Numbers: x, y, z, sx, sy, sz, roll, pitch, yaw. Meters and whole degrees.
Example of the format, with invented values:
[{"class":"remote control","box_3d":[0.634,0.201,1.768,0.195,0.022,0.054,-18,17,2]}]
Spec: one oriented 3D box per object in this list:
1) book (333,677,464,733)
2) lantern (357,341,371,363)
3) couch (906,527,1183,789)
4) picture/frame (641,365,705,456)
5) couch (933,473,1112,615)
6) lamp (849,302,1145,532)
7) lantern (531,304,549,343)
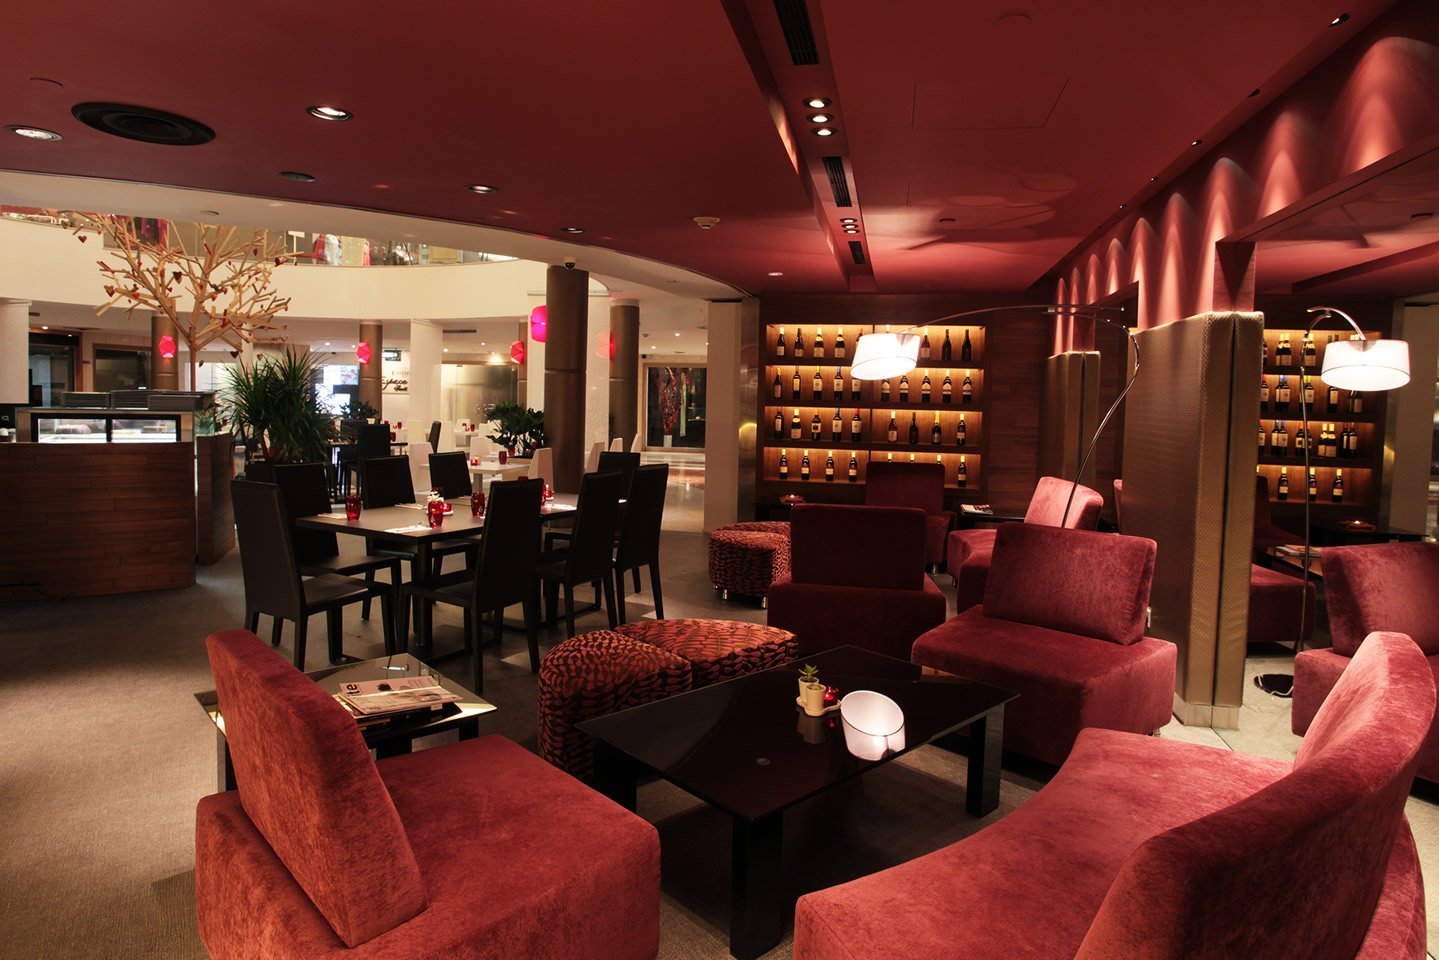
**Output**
[{"class":"book","box_3d":[-1.300,0.889,3.746,0.358,0.078,0.347,-3,10,-30]},{"class":"lantern","box_3d":[-7.064,-2.547,18.291,0.185,0.366,0.726,-1,6,-17]},{"class":"couch","box_3d":[1.738,0.741,5.101,1.316,1.222,1.354,-2,4,-39]},{"class":"picture/frame","box_3d":[-1.281,-2.053,25.662,1.601,2.344,0.559,1,7,2]},{"class":"couch","box_3d":[2.225,0.364,6.850,1.023,0.937,1.842,1,2,10]},{"class":"lamp","box_3d":[1.832,-0.525,6.653,1.986,0.520,2.073,-2,-33,18]},{"class":"lantern","box_3d":[-2.234,-1.925,11.323,0.169,0.428,0.884,-1,6,-13]}]
